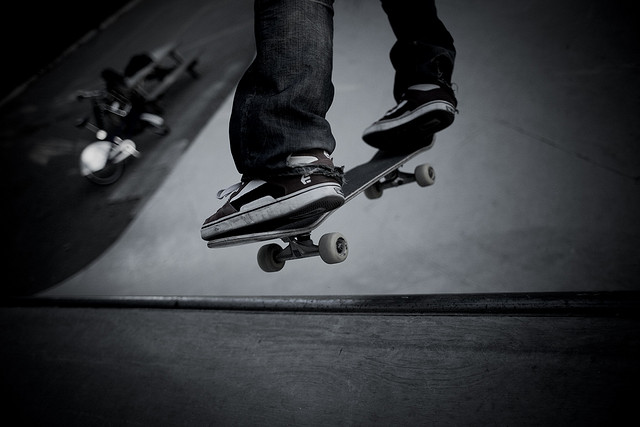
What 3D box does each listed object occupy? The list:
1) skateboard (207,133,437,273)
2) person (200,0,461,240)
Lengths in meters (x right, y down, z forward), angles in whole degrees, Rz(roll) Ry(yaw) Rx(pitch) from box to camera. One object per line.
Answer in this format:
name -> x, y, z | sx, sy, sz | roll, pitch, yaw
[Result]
skateboard -> 0.046, -0.024, 2.712 | 1.302, 0.233, 0.346 | -30, 23, -38
person -> 0.081, -0.529, 2.625 | 1.077, 1.476, 0.484 | 17, -10, -40
